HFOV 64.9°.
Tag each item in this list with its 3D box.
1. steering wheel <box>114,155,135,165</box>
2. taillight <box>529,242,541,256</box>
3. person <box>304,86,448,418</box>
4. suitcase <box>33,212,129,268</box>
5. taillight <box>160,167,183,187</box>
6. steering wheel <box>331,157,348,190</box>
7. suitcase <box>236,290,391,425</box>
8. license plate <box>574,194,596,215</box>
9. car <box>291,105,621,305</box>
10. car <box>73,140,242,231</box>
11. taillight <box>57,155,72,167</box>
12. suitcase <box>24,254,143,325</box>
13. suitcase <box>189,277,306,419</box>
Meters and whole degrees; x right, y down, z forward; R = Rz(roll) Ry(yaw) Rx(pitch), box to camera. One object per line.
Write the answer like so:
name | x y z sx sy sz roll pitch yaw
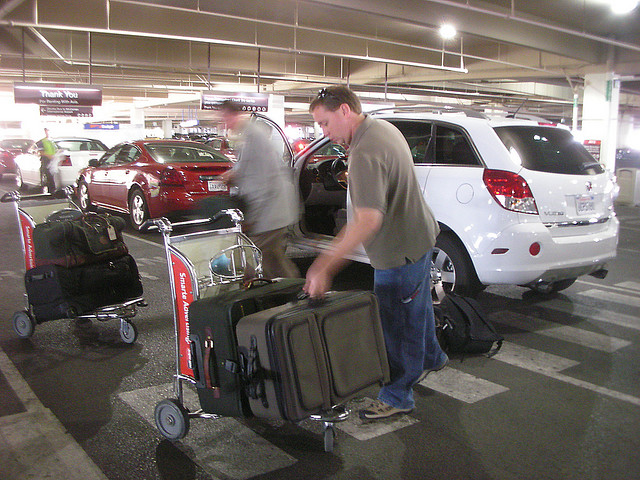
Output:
steering wheel | -4.434 -1.810 11.406 0.136 0.220 0.821 -12 17 -41
taillight | 2.241 0.088 5.268 0.144 0.114 0.019 11 4 -31
person | 0.398 0.058 3.841 1.151 2.269 1.048 0 11 26
suitcase | -2.559 -0.009 5.489 0.518 0.531 0.954 -3 7 31
taillight | -2.941 -1.251 10.076 0.441 0.363 0.134 3 14 12
steering wheel | 0.294 -0.979 7.449 0.215 0.473 0.232 0 13 0
suitcase | -0.005 0.719 3.250 0.524 0.615 0.981 -6 4 45
license plate | 2.936 -0.385 5.653 0.280 0.227 0.065 -1 -2 -34
car | 1.364 -0.654 6.795 2.648 1.640 4.276 -10 18 -44
car | -3.678 -1.202 11.421 2.303 1.492 5.042 -9 16 -44
taillight | -7.698 -2.413 15.314 0.374 0.314 0.085 0 2 15
suitcase | -2.448 0.499 5.348 0.834 0.567 1.106 1 7 44
suitcase | -0.359 0.638 3.569 0.546 0.802 1.040 0 9 44
